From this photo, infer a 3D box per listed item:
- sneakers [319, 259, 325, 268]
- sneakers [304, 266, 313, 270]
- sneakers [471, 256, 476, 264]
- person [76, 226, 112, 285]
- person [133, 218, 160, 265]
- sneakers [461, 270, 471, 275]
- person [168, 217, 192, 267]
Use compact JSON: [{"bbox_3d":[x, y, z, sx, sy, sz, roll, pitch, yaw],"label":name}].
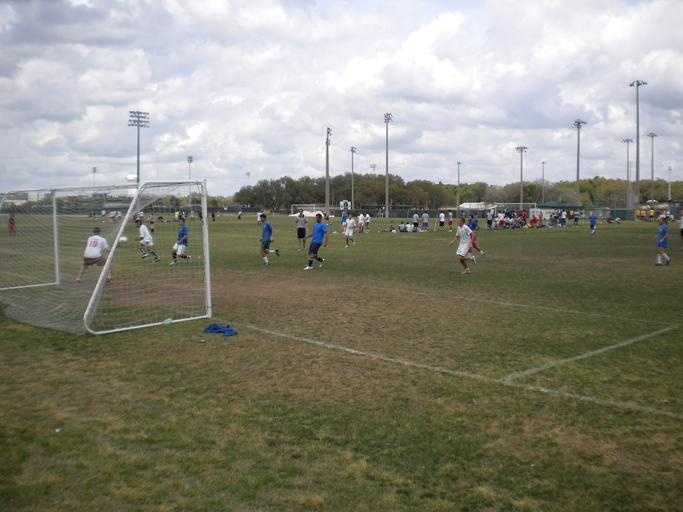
[{"bbox_3d":[-0.704,0.237,21.047,0.159,0.374,0.125,-25,57,-21],"label":"sneakers"},{"bbox_3d":[-1.182,0.439,20.399,0.332,0.140,0.123,0,3,17],"label":"sneakers"},{"bbox_3d":[5.357,0.149,22.926,0.216,0.283,0.464,3,12,6],"label":"sneakers"},{"bbox_3d":[-6.655,0.066,15.059,0.791,1.463,2.583,-7,15,-26],"label":"person"},{"bbox_3d":[-7.617,-0.585,22.148,1.088,2.052,0.757,-6,28,-27],"label":"person"},{"bbox_3d":[4.238,0.534,19.387,0.124,0.169,0.365,-12,12,-43],"label":"sneakers"},{"bbox_3d":[-5.891,-0.535,20.737,0.792,1.700,0.702,-4,34,-25],"label":"person"}]
